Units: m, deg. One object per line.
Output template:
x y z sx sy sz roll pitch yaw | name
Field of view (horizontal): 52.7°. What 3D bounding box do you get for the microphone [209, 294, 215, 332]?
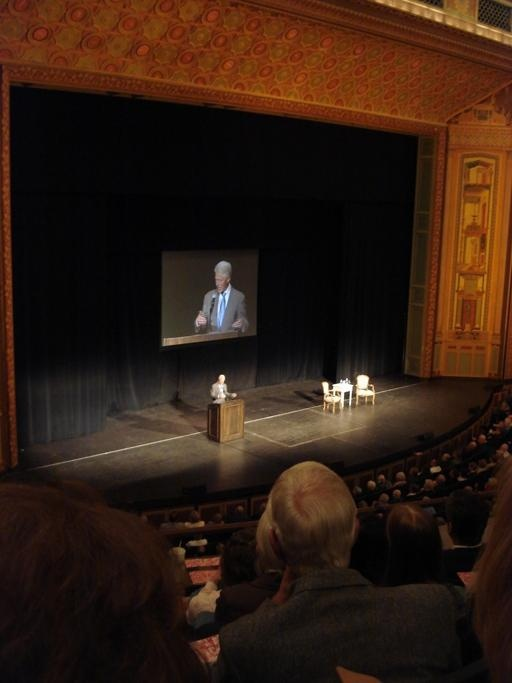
-1.110 -0.707 13.089 0.161 0.856 0.056 -6 13 -32 | microphone
